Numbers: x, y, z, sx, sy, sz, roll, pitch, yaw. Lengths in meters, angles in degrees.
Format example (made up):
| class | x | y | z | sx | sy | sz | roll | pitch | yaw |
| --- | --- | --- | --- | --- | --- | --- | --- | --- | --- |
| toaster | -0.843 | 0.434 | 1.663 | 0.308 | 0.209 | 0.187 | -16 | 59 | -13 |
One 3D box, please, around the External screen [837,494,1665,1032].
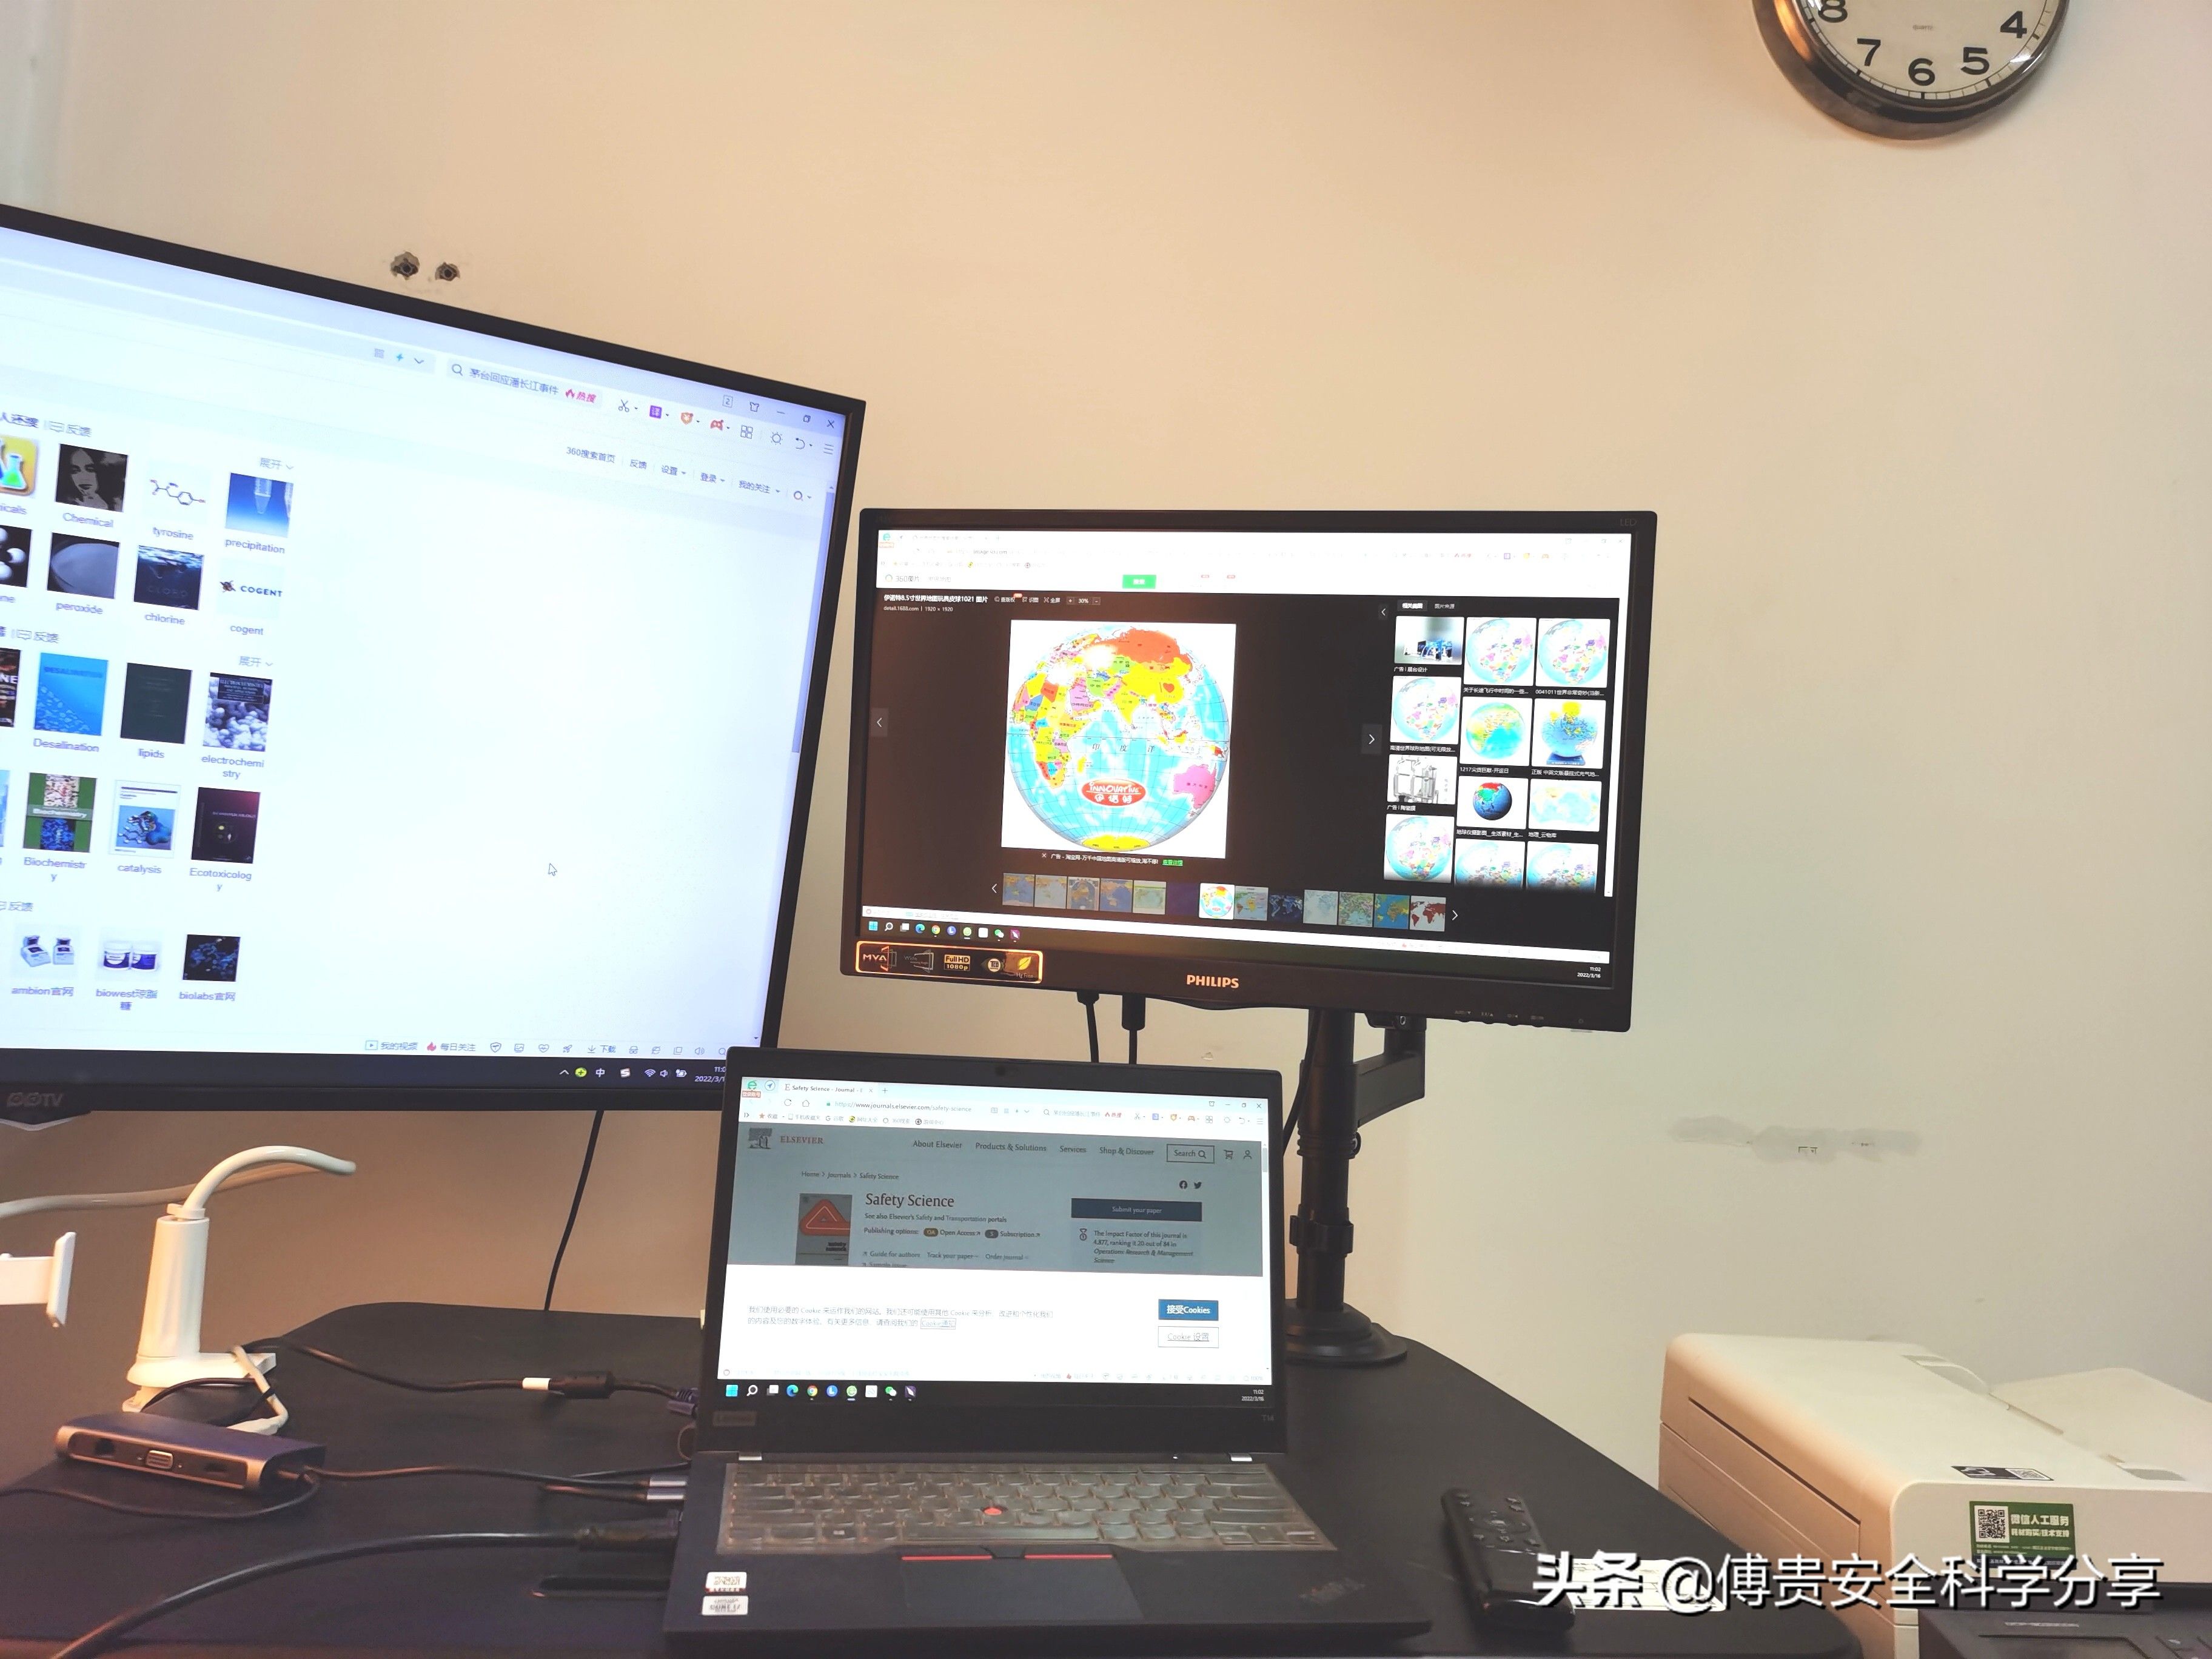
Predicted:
| class | x | y | z | sx | sy | sz | roll | pitch | yaw |
| --- | --- | --- | --- | --- | --- | --- | --- | --- | --- |
| External screen | 0.107 | -0.064 | 1.655 | 0.674 | 0.424 | 0.028 | 3 | -3 | 10 |
